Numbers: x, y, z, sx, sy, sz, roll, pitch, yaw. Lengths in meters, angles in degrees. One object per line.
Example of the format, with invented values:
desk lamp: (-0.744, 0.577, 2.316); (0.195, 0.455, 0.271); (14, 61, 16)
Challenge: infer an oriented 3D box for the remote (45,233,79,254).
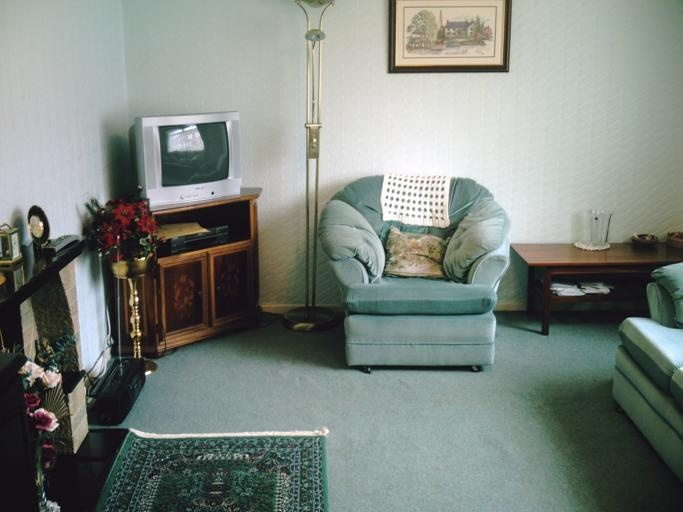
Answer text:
remote: (-1.384, -0.069, 2.793); (0.083, 0.060, 0.345); (-5, 17, -10)

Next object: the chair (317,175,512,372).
chair: (0.526, 0.146, 4.232); (1.423, 1.289, 1.339); (1, 11, 4)

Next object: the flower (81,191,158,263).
flower: (-1.349, -0.188, 3.465); (0.379, 0.332, 0.387); (1, 7, 0)

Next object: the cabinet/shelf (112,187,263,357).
cabinet/shelf: (-0.938, 0.172, 4.191); (1.057, 1.019, 0.400); (-13, -21, 7)
